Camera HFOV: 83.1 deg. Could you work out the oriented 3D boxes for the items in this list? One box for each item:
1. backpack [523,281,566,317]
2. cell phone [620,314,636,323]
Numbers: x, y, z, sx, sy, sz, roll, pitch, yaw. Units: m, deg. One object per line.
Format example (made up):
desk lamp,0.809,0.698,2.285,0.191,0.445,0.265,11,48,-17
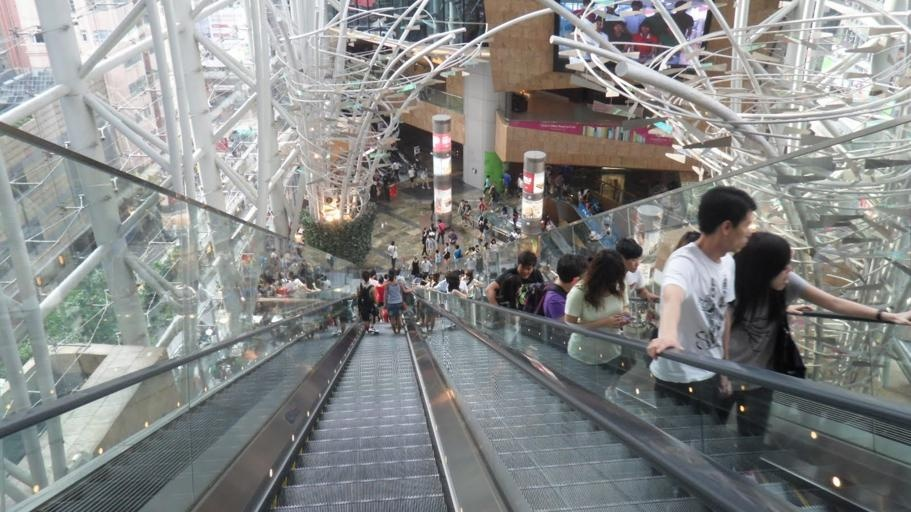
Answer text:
backpack,1.120,0.560,6.440,0.531,0.313,0.489,2,-3,-34
cell phone,1.796,0.656,5.388,0.148,0.069,0.095,16,-27,37
